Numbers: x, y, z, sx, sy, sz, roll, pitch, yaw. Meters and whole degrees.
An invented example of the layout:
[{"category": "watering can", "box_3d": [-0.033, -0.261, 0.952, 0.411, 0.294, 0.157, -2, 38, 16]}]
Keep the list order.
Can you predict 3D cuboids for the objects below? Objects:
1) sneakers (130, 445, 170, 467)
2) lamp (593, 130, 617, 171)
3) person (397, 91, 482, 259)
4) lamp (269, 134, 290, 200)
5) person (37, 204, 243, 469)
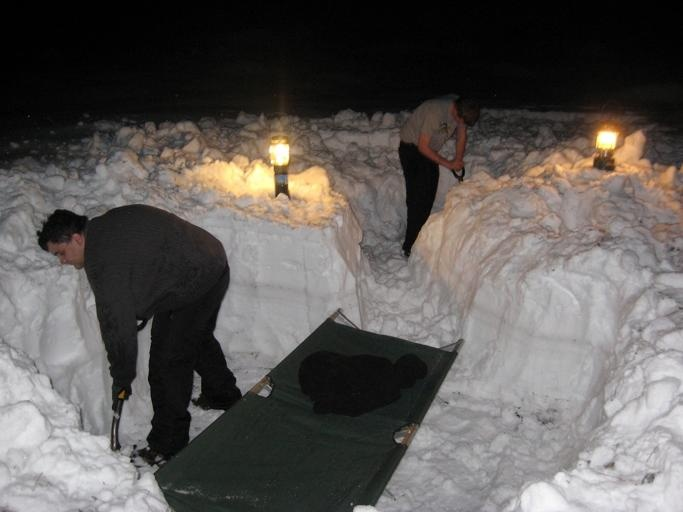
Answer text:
[{"category": "sneakers", "box_3d": [-1.392, 1.430, 4.040, 0.236, 0.095, 0.147, 4, 2, 26]}, {"category": "lamp", "box_3d": [2.554, -1.027, 5.464, 0.219, 0.388, 0.223, 10, 13, 9]}, {"category": "person", "box_3d": [1.033, -0.798, 5.995, 0.926, 1.931, 0.705, 19, 57, 17]}, {"category": "lamp", "box_3d": [-0.568, -0.846, 5.343, 0.235, 0.559, 0.220, 4, 13, -17]}, {"category": "person", "box_3d": [-1.364, 0.556, 3.921, 1.161, 1.804, 0.414, 2, 14, -27]}]
